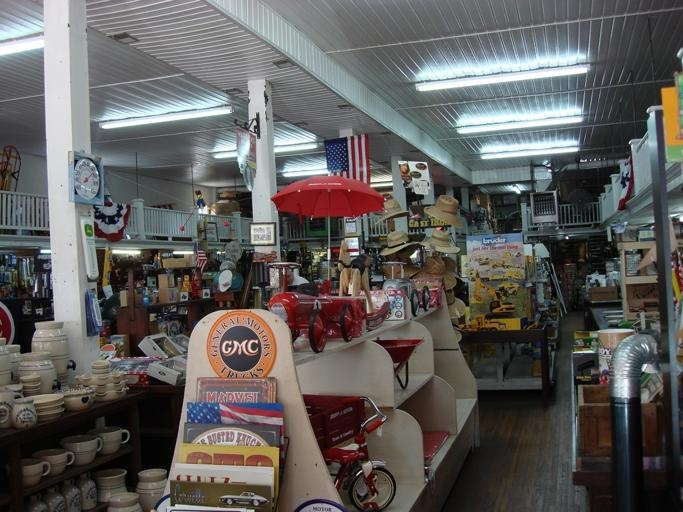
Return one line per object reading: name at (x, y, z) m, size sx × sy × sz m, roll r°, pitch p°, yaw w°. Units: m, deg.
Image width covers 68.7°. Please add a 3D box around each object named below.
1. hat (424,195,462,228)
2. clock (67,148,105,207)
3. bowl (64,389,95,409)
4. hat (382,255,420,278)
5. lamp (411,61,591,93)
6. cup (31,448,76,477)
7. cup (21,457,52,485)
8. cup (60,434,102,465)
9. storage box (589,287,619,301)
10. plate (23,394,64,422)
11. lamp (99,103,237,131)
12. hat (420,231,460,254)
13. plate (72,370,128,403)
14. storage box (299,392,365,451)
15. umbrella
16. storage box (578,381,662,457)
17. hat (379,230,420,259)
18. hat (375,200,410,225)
hat at (1.413, -0.565, 6.869) m, size 0.489 × 0.264 × 0.461 m, roll 23°, pitch 23°, yaw 8°
clock at (-2.228, -0.681, 4.374) m, size 0.096 × 0.422 × 0.337 m, roll -4°, pitch -2°, yaw 22°
bowl at (-1.866, 1.011, 3.549) m, size 0.190 × 0.140 × 0.141 m, roll -3°, pitch -1°, yaw -29°
hat at (0.797, 0.144, 6.623) m, size 0.433 × 0.240 × 0.323 m, roll 0°, pitch 3°, yaw 23°
lamp at (3.199, -3.746, 10.311) m, size 2.563 × 0.142 × 0.339 m, roll -1°, pitch 27°, yaw 28°
cup at (-1.952, 1.403, 3.420) m, size 0.143 × 0.105 × 0.207 m, roll -3°, pitch -11°, yaw 14°
cup at (-1.982, 1.382, 3.232) m, size 0.123 × 0.114 × 0.156 m, roll -10°, pitch -15°, yaw 44°
cup at (-1.866, 1.376, 3.590) m, size 0.158 × 0.149 × 0.203 m, roll -5°, pitch -9°, yaw 35°
storage box at (6.651, 0.959, 12.630) m, size 0.421 × 0.216 × 0.431 m, roll 0°, pitch 1°, yaw 19°
plate at (-1.945, 0.992, 3.297) m, size 0.160 × 0.074 × 0.183 m, roll 0°, pitch -1°, yaw 0°
lamp at (-4.016, -3.207, 11.592) m, size 3.468 × 0.264 × 0.807 m, roll -4°, pitch -1°, yaw 19°
hat at (1.312, -0.210, 6.745) m, size 0.445 × 0.238 × 0.564 m, roll -4°, pitch -1°, yaw 9°
plate at (-1.787, 0.945, 3.776) m, size 0.231 × 0.112 × 0.257 m, roll 0°, pitch -2°, yaw 15°
storage box at (-0.094, 1.042, 3.269) m, size 0.372 × 0.242 × 0.384 m, roll -8°, pitch 4°, yaw 45°
umbrella at (-0.101, -0.290, 4.821) m, size 0.922 × 0.748 × 0.905 m, roll 6°, pitch -11°, yaw -36°
storage box at (1.984, 1.220, 3.587) m, size 0.491 × 0.325 × 0.504 m, roll 0°, pitch -2°, yaw 4°
hat at (0.779, -0.192, 6.845) m, size 0.357 × 0.175 × 0.410 m, roll -17°, pitch 6°, yaw 46°
hat at (0.788, -0.719, 7.758) m, size 0.406 × 0.236 × 0.436 m, roll -19°, pitch -3°, yaw 1°
